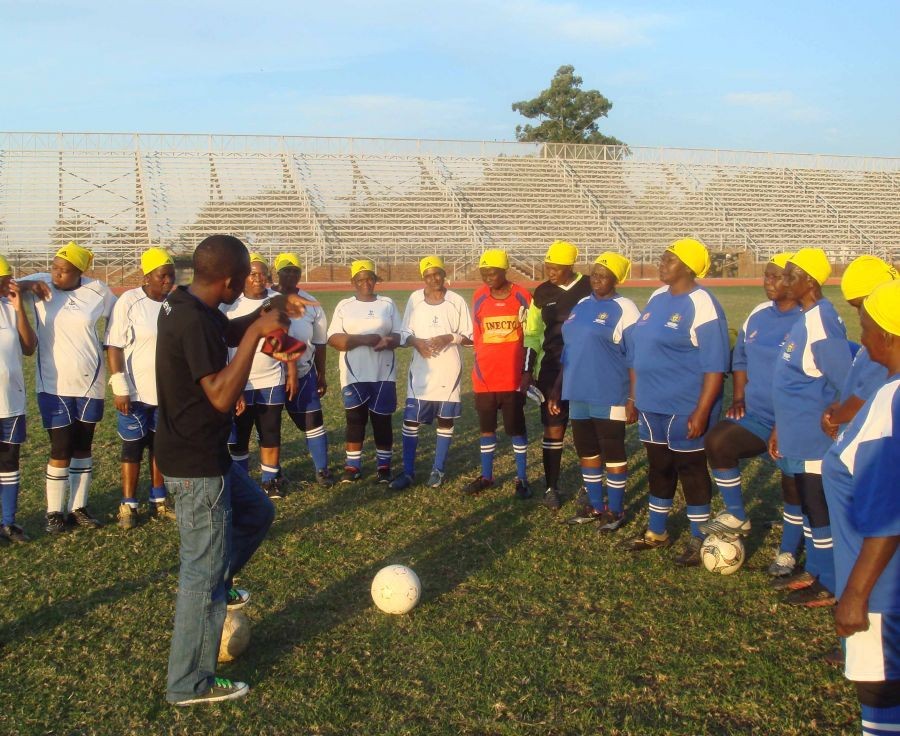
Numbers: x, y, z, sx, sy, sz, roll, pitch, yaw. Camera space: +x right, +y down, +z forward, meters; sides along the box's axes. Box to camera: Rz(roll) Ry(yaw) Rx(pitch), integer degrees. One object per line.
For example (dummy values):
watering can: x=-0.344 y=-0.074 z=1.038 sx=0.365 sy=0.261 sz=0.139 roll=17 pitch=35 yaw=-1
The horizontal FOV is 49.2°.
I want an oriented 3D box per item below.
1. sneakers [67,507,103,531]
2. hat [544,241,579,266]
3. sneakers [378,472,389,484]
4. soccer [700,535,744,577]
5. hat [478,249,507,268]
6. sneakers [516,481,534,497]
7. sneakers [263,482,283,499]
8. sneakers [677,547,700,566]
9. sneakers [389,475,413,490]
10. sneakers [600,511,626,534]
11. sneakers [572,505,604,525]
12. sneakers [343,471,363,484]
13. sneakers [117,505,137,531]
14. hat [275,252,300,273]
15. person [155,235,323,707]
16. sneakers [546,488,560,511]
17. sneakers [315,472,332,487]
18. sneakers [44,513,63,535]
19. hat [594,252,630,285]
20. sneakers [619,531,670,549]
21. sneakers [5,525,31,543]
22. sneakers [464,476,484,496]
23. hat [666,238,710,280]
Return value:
sneakers: x=-3.255 y=1.338 z=8.742 sx=0.317 sy=0.136 sz=0.148 roll=1 pitch=2 yaw=9
hat: x=1.077 y=-1.092 z=9.389 sx=0.212 sy=0.240 sz=0.292 roll=23 pitch=-8 yaw=38
sneakers: x=-0.659 y=1.094 z=9.878 sx=0.104 sy=0.130 sz=0.106 roll=1 pitch=-7 yaw=2
soccer: x=2.144 y=1.456 z=7.783 sx=0.310 sy=0.365 sz=0.306 roll=13 pitch=-11 yaw=-17
hat: x=0.434 y=-1.057 z=9.556 sx=0.230 sy=0.159 sz=0.255 roll=1 pitch=1 yaw=21
sneakers: x=0.723 y=1.165 z=9.536 sx=0.114 sy=0.134 sz=0.140 roll=-2 pitch=1 yaw=1
sneakers: x=-1.722 y=1.182 z=9.572 sx=0.149 sy=0.161 sz=0.166 roll=-3 pitch=-11 yaw=8
sneakers: x=1.925 y=1.539 z=7.982 sx=0.083 sy=0.109 sz=0.263 roll=0 pitch=20 yaw=40
sneakers: x=-0.489 y=1.138 z=9.776 sx=0.095 sy=0.103 sz=0.245 roll=2 pitch=-2 yaw=35
sneakers: x=1.455 y=1.348 z=8.753 sx=0.219 sy=0.144 sz=0.250 roll=0 pitch=11 yaw=8
sneakers: x=1.250 y=1.336 z=8.943 sx=0.252 sy=0.116 sz=0.135 roll=3 pitch=-4 yaw=-11
sneakers: x=-0.992 y=1.068 z=9.982 sx=0.201 sy=0.107 sz=0.266 roll=-3 pitch=11 yaw=-7
sneakers: x=-2.885 y=1.299 z=8.791 sx=0.165 sy=0.168 sz=0.368 roll=-6 pitch=12 yaw=-18
hat: x=-1.618 y=-1.030 z=9.804 sx=0.204 sy=0.213 sz=0.259 roll=7 pitch=-39 yaw=-22
person: x=-1.527 y=0.662 z=6.434 sx=0.876 sy=3.029 sz=0.972 roll=4 pitch=13 yaw=26
sneakers: x=0.963 y=1.234 z=9.241 sx=0.136 sy=0.149 sz=0.379 roll=-1 pitch=-9 yaw=4
sneakers: x=-1.256 y=1.099 z=9.797 sx=0.111 sy=0.059 sz=0.146 roll=3 pitch=12 yaw=-6
sneakers: x=-3.436 y=1.352 z=8.565 sx=0.191 sy=0.191 sz=0.121 roll=2 pitch=2 yaw=-12
hat: x=1.434 y=-0.957 z=8.914 sx=0.284 sy=0.267 sz=0.364 roll=-5 pitch=-15 yaw=35
sneakers: x=1.639 y=1.434 z=8.331 sx=0.418 sy=0.179 sz=0.154 roll=3 pitch=-3 yaw=4
sneakers: x=-3.661 y=1.409 z=8.414 sx=0.283 sy=0.120 sz=0.097 roll=11 pitch=7 yaw=9
sneakers: x=0.257 y=1.139 z=9.650 sx=0.093 sy=0.104 sz=0.262 roll=10 pitch=9 yaw=37
hat: x=1.919 y=-0.905 z=8.071 sx=0.372 sy=0.311 sz=0.285 roll=3 pitch=9 yaw=8
